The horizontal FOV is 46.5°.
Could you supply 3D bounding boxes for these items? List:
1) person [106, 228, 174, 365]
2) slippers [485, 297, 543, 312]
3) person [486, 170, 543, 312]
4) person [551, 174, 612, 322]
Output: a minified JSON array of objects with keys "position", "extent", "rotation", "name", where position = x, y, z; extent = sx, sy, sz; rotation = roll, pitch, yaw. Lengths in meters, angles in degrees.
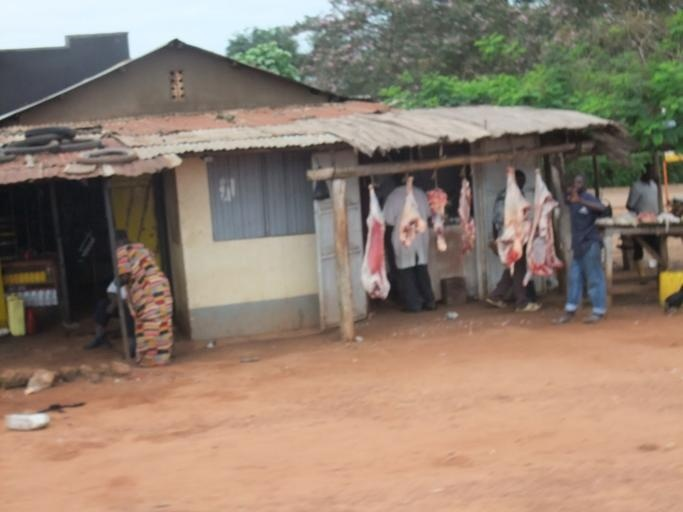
[{"position":[-3.119,0.766,12.624],"extent":[0.793,1.921,0.406],"rotation":[-5,5,-6],"name":"person"},{"position":[3.093,0.838,14.384],"extent":[0.994,0.253,0.488],"rotation":[0,6,43],"name":"slippers"},{"position":[3.044,-0.308,14.473],"extent":[0.942,2.520,1.531],"rotation":[-4,5,7],"name":"person"},{"position":[3.971,-0.134,13.066],"extent":[0.757,2.395,0.782],"rotation":[-3,5,18],"name":"person"}]
